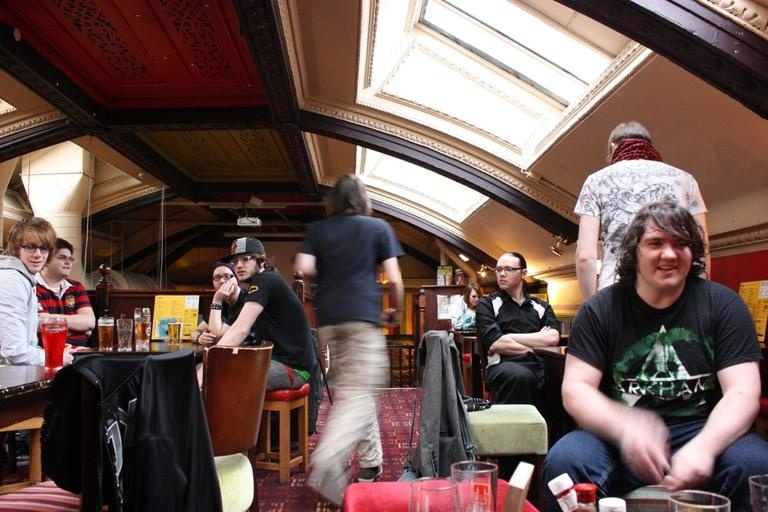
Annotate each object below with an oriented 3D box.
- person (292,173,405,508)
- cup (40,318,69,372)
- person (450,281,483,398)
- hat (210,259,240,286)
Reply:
[{"bbox_3d":[-0.252,0.509,3.480,0.699,2.199,0.499,4,-17,-22],"label":"person"},{"bbox_3d":[-1.694,0.449,2.621,0.123,0.260,0.231,7,-18,-31],"label":"cup"},{"bbox_3d":[0.894,0.905,5.496,0.491,1.065,1.166,-1,-7,2],"label":"person"},{"bbox_3d":[-1.542,0.152,4.817,0.222,0.259,0.284,-6,-10,-1],"label":"hat"}]
